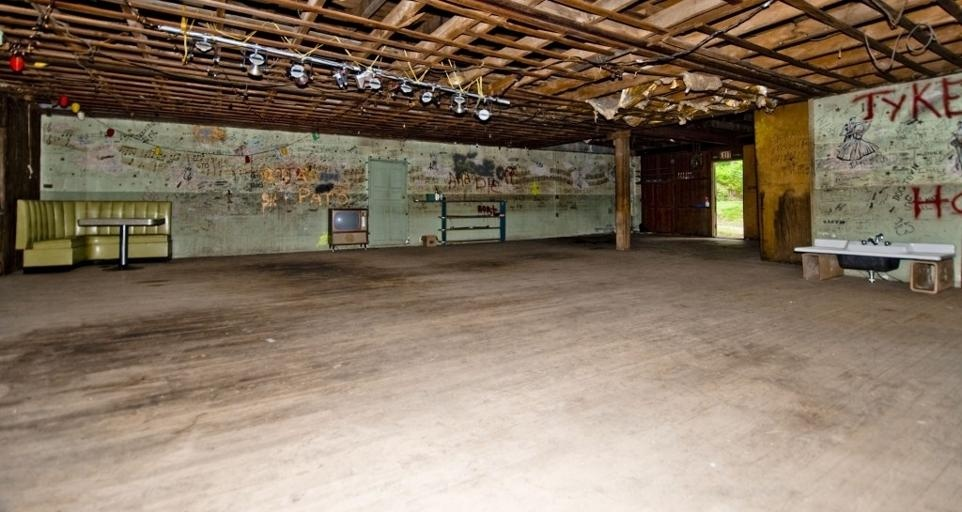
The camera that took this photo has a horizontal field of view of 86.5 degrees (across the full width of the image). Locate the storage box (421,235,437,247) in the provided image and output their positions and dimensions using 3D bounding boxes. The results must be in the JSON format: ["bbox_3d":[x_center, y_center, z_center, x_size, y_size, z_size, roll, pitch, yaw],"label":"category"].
[{"bbox_3d":[-1.636,-0.456,15.813,0.555,0.277,0.374,-1,6,-20],"label":"storage box"}]

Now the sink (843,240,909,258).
[{"bbox_3d":[7.085,-0.088,9.086,0.778,0.224,0.984,-4,6,-44],"label":"sink"}]

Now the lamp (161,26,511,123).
[{"bbox_3d":[-2.585,-3.136,9.225,5.631,0.840,1.239,-2,5,-25],"label":"lamp"}]

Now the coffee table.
[{"bbox_3d":[-7.689,-0.260,11.051,1.410,1.069,1.267,-1,5,-3],"label":"coffee table"}]

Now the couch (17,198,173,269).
[{"bbox_3d":[-8.724,-0.533,11.420,1.518,1.293,3.203,14,10,23],"label":"couch"}]
